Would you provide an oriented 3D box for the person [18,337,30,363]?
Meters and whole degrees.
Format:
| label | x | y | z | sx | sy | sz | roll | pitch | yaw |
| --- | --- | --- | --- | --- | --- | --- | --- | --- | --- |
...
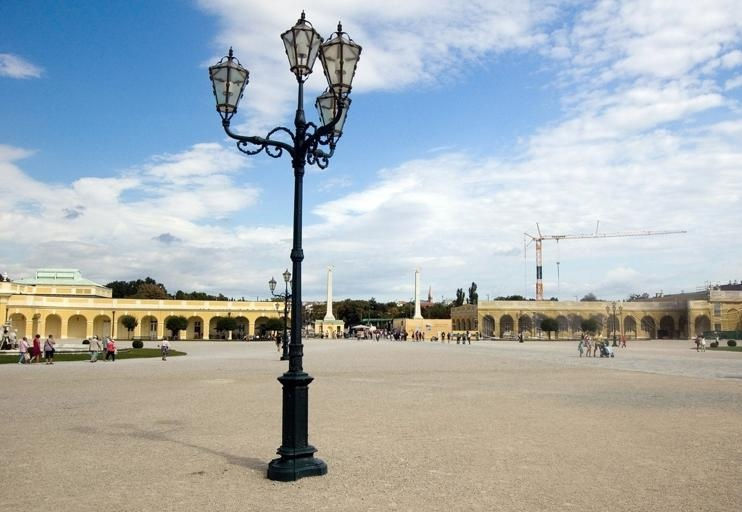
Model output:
| label | x | y | z | sx | sy | sz | roll | pitch | yaw |
| --- | --- | --- | --- | --- | --- | --- | --- | --- | --- |
| person | -15.341 | 4.168 | 29.965 | 0.428 | 1.162 | 2.680 | 3 | -9 | -27 |

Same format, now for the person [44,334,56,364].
| label | x | y | z | sx | sy | sz | roll | pitch | yaw |
| --- | --- | --- | --- | --- | --- | --- | --- | --- | --- |
| person | -14.298 | 4.171 | 30.087 | 0.385 | 1.196 | 1.645 | 3 | -9 | -27 |
